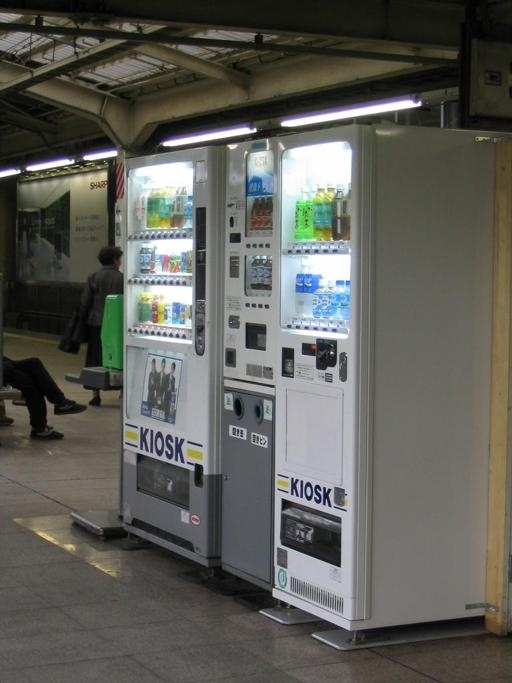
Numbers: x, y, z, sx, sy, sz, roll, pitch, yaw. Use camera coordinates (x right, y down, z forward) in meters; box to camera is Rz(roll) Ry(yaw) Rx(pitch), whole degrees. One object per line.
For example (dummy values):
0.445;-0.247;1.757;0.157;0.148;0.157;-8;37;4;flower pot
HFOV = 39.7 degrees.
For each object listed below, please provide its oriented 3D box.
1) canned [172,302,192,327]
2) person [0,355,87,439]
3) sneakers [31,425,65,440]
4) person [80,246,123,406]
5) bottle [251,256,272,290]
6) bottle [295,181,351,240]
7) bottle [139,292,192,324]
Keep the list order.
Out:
-0.439;-0.157;4.230;0.043;0.131;0.136;-1;2;-32;canned
-2.382;0.621;7.645;0.406;0.871;0.950;-2;-7;44;person
-2.268;1.007;7.748;0.406;0.206;0.143;0;2;-12;sneakers
-1.992;-0.483;9.130;0.491;1.619;0.828;4;-5;-14;person
0.028;-0.324;3.430;0.029;0.173;0.170;6;-6;-32;bottle
0.298;-0.562;3.108;0.096;0.299;0.293;2;0;-42;bottle
-0.545;-0.203;4.373;0.495;0.166;0.120;5;-1;27;bottle
